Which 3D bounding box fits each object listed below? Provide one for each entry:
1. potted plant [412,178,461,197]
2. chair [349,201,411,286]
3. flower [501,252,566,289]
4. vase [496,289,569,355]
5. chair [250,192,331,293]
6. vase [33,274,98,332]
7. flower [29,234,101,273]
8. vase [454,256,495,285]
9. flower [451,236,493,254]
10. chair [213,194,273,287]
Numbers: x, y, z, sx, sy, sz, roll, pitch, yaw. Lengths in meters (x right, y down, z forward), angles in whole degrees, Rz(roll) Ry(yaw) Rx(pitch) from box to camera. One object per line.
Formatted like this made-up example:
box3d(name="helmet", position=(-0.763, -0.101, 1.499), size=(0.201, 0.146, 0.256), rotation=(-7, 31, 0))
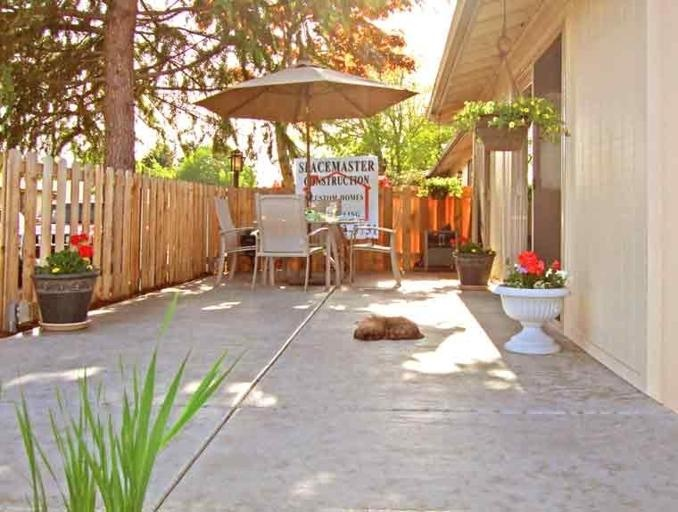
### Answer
box3d(name="potted plant", position=(1.604, -1.090, 10.045), size=(0.422, 0.273, 0.439), rotation=(5, 8, 37))
box3d(name="chair", position=(0.535, -0.118, 8.905), size=(0.850, 1.363, 0.828), rotation=(3, 4, 7))
box3d(name="flower", position=(1.405, 0.133, 4.422), size=(0.323, 0.218, 0.313), rotation=(-2, 1, -5))
box3d(name="vase", position=(1.367, 0.472, 4.439), size=(0.441, 0.398, 0.466), rotation=(2, -10, 4))
box3d(name="chair", position=(-0.689, -0.131, 7.610), size=(0.805, 1.187, 0.937), rotation=(2, 4, 20))
box3d(name="vase", position=(-2.227, 0.399, 5.057), size=(0.415, 0.420, 0.450), rotation=(0, -4, -4))
box3d(name="flower", position=(-2.337, 0.040, 5.152), size=(0.458, 0.366, 0.430), rotation=(-2, -1, 22))
box3d(name="vase", position=(1.648, 0.225, 7.657), size=(0.352, 0.301, 0.370), rotation=(-2, -3, 38))
box3d(name="flower", position=(1.685, -0.150, 7.713), size=(0.398, 0.190, 0.423), rotation=(5, -3, 5))
box3d(name="chair", position=(-1.518, -0.488, 9.315), size=(0.654, 1.077, 0.612), rotation=(-10, -4, 37))
